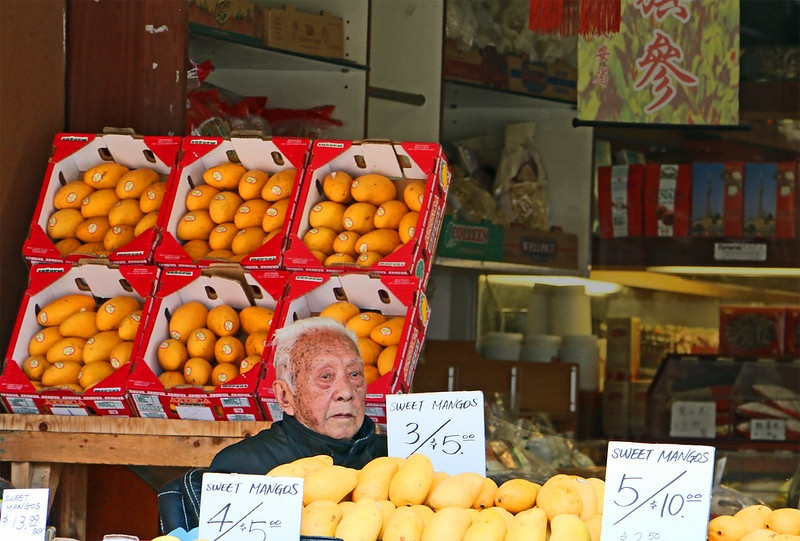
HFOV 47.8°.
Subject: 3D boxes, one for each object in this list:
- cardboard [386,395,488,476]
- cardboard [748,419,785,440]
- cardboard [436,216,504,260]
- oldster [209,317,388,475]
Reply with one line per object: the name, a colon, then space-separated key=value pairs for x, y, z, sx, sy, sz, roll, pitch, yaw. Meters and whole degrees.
cardboard: x=0.122 y=0.561 z=3.080 sx=0.340 sy=0.278 sz=0.249 roll=-1 pitch=-2 yaw=1
cardboard: x=2.122 y=0.929 z=5.214 sx=0.179 sy=0.122 sz=0.043 roll=4 pitch=-5 yaw=4
cardboard: x=0.412 y=-0.158 z=5.069 sx=0.243 sy=0.165 sz=0.348 roll=3 pitch=-7 yaw=7
oldster: x=-0.382 y=0.509 z=3.494 sx=0.652 sy=0.435 sz=0.301 roll=-2 pitch=-4 yaw=-43
